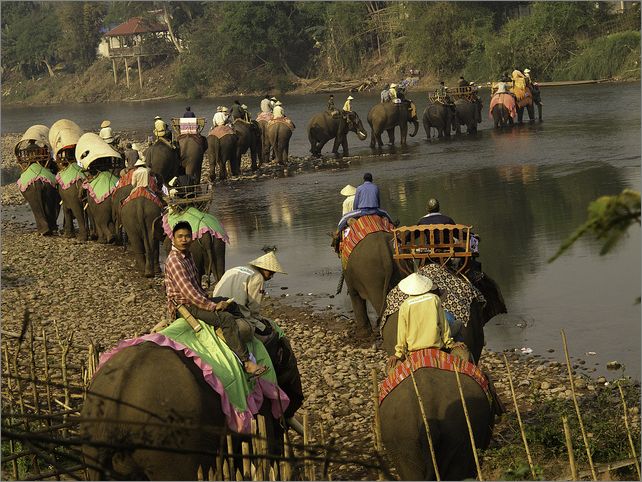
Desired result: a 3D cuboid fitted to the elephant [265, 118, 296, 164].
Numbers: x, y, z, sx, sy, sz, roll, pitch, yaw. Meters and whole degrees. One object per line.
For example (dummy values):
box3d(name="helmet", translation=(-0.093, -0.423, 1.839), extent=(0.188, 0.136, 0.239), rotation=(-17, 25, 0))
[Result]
box3d(name="elephant", translation=(-1.277, -3.215, 30.212), extent=(0.876, 1.524, 1.522), rotation=(-6, 7, -2))

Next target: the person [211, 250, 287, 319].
box3d(name="person", translation=(-0.622, 0.483, 10.029), extent=(0.849, 0.878, 0.501), rotation=(10, 1, -32))

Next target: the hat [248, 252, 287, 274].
box3d(name="hat", translation=(-0.582, 0.247, 10.179), extent=(0.257, 0.125, 0.250), rotation=(29, 2, -38))

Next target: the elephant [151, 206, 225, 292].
box3d(name="elephant", translation=(-2.179, -0.053, 14.863), extent=(0.779, 1.016, 1.695), rotation=(-9, 21, -23))

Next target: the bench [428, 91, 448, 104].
box3d(name="bench", translation=(4.411, -5.358, 34.395), extent=(0.710, 0.319, 0.578), rotation=(7, -3, -7))

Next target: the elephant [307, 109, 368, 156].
box3d(name="elephant", translation=(0.543, -3.798, 32.481), extent=(2.039, 1.527, 0.810), rotation=(-10, 8, -29))

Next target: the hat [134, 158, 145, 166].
box3d(name="hat", translation=(-3.258, -1.393, 16.788), extent=(0.138, 0.066, 0.145), rotation=(1, 8, 30))

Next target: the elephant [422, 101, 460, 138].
box3d(name="elephant", translation=(4.383, -4.422, 34.367), extent=(0.893, 1.284, 1.286), rotation=(-3, 8, 27))

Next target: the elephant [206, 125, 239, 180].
box3d(name="elephant", translation=(-2.802, -2.541, 26.948), extent=(0.904, 1.581, 1.294), rotation=(-6, 7, 4))

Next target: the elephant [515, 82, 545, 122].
box3d(name="elephant", translation=(8.049, -5.578, 36.030), extent=(1.039, 1.982, 1.815), rotation=(-4, 7, 13))

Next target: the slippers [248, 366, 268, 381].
box3d(name="slippers", translation=(-0.629, 1.352, 9.302), extent=(0.148, 0.046, 0.117), rotation=(-32, 7, 7))

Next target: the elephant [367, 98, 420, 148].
box3d(name="elephant", translation=(2.638, -4.248, 33.836), extent=(0.962, 1.575, 2.073), rotation=(0, 9, 41))

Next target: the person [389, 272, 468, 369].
box3d(name="person", translation=(1.136, 0.868, 9.628), extent=(0.726, 1.035, 0.333), rotation=(-10, 31, 8))

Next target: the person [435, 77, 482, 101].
box3d(name="person", translation=(4.983, -5.642, 35.205), extent=(1.064, 0.992, 1.870), rotation=(5, 14, 37))

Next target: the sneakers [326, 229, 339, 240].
box3d(name="sneakers", translation=(0.206, -0.098, 13.705), extent=(0.196, 0.187, 0.151), rotation=(-6, -3, 12))

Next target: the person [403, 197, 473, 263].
box3d(name="person", translation=(1.481, -0.076, 11.254), extent=(0.570, 0.548, 0.808), rotation=(2, 25, 12))

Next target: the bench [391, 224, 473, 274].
box3d(name="bench", translation=(1.373, 0.112, 11.137), extent=(0.913, 0.675, 0.417), rotation=(-2, 9, 15))

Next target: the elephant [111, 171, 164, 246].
box3d(name="elephant", translation=(-3.576, -0.728, 17.551), extent=(0.707, 0.948, 1.745), rotation=(-2, 33, 0))

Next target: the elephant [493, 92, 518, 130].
box3d(name="elephant", translation=(7.030, -4.950, 35.304), extent=(0.850, 1.303, 1.137), rotation=(-6, 7, -3))

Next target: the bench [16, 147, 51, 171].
box3d(name="bench", translation=(-6.186, -1.764, 20.048), extent=(0.637, 0.435, 0.394), rotation=(0, -3, -6))

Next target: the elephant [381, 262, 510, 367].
box3d(name="elephant", translation=(1.515, 0.696, 10.991), extent=(0.825, 0.930, 1.666), rotation=(-5, 14, 5))
